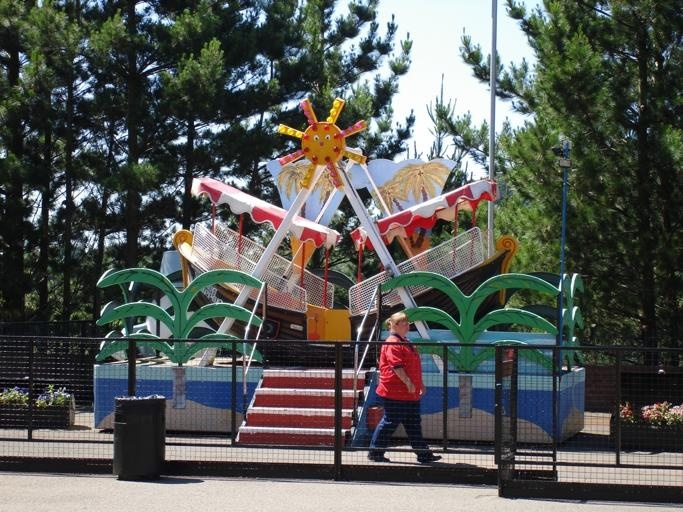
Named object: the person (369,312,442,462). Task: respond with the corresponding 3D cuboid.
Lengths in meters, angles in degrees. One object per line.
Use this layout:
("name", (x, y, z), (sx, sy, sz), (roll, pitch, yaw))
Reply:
("person", (1.287, 2.907, 31.112), (1.324, 3.339, 0.766), (-1, -9, 3))

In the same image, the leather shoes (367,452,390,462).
("leather shoes", (0.790, 4.469, 31.218), (0.331, 0.191, 0.268), (8, -3, -10))

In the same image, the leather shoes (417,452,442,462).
("leather shoes", (1.916, 4.483, 31.156), (0.363, 0.171, 0.281), (0, -1, 23))
